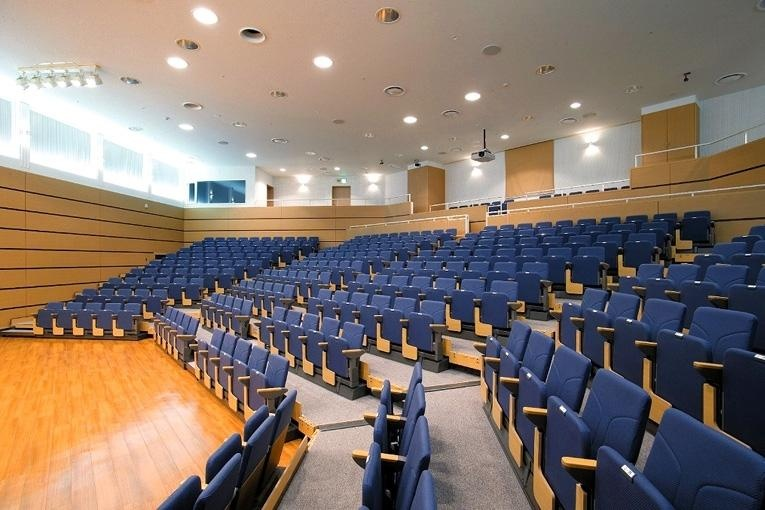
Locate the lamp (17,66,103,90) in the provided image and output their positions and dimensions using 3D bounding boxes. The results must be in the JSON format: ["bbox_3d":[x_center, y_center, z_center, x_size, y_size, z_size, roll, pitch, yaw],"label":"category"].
[{"bbox_3d":[-4.656,-2.554,6.936,1.210,0.274,0.398,-1,3,0],"label":"lamp"}]
